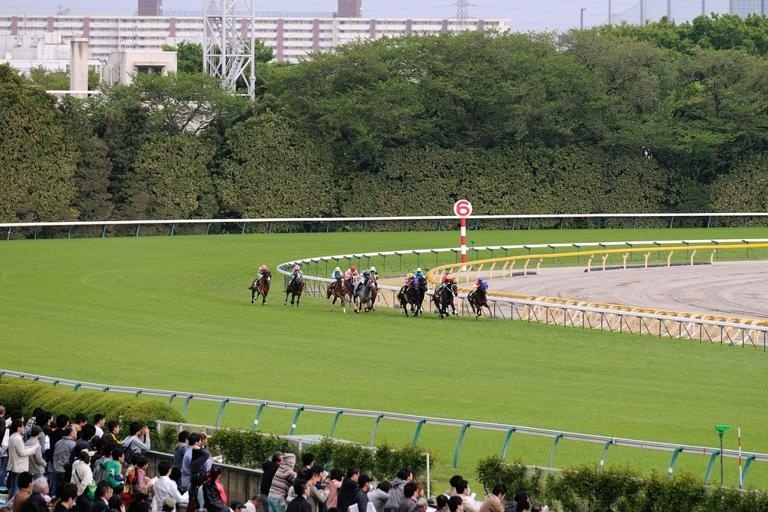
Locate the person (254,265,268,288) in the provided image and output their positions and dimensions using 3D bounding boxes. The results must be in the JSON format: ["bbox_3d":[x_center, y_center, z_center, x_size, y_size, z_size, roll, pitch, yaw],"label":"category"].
[{"bbox_3d":[-4.859,0.668,68.137,0.562,0.734,0.980,1,5,-5],"label":"person"}]

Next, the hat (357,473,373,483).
[{"bbox_3d":[-0.498,6.405,48.895,0.305,0.246,0.382,3,5,13],"label":"hat"}]

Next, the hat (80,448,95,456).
[{"bbox_3d":[-8.626,5.771,49.689,0.412,0.234,0.356,0,5,-15],"label":"hat"}]

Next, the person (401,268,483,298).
[{"bbox_3d":[2.065,1.322,66.873,3.017,0.628,1.031,2,50,0],"label":"person"}]

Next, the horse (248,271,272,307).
[{"bbox_3d":[-4.864,1.253,68.310,0.607,1.324,2.305,7,-4,-18],"label":"horse"}]

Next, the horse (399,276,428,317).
[{"bbox_3d":[1.158,1.470,65.756,0.860,1.653,1.095,-1,5,-27],"label":"horse"}]

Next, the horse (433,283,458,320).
[{"bbox_3d":[2.449,1.586,66.274,0.951,1.413,1.830,2,5,3],"label":"horse"}]

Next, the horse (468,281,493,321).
[{"bbox_3d":[3.793,1.546,66.169,0.890,1.495,2.009,2,5,4],"label":"horse"}]
